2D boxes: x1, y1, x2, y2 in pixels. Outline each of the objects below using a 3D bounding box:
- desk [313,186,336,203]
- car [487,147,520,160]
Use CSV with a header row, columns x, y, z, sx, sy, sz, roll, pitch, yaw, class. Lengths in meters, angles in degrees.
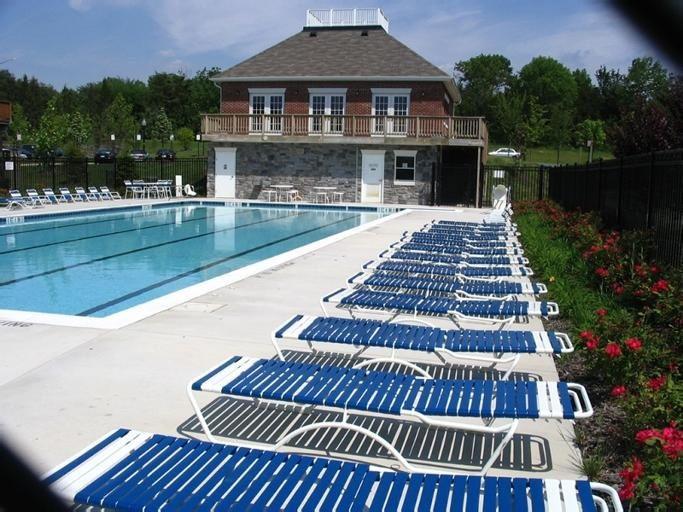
x,y,z,sx,sy,sz,roll,pitch,yaw,class
-0.975,-3.689,30.521,1.441,0.907,0.908,0,8,4,desk
22.153,-14.154,70.558,3.498,1.781,6.381,1,8,11,car
